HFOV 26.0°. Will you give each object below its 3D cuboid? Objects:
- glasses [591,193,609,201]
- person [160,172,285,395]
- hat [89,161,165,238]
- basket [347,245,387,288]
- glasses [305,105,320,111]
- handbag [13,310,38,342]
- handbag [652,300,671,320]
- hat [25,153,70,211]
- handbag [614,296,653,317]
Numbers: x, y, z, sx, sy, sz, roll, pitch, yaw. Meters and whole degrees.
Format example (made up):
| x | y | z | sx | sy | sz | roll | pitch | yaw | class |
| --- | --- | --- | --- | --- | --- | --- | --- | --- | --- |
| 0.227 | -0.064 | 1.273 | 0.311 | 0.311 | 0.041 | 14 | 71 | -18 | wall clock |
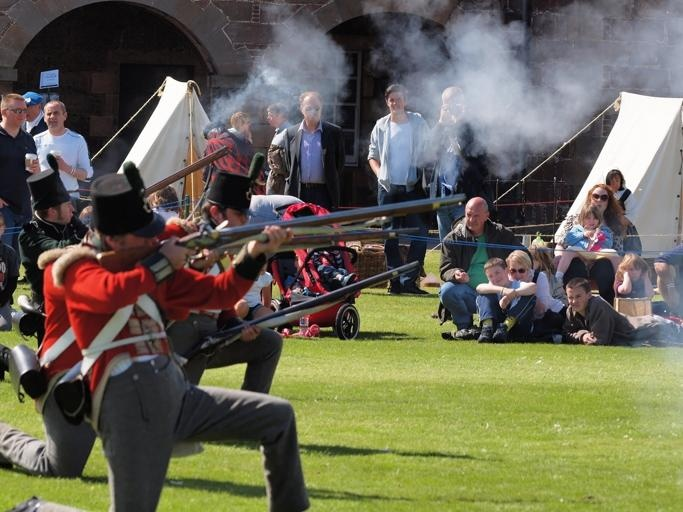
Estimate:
| x | y | z | sx | sy | sz | roll | pitch | yaw | class |
| --- | --- | --- | --- | --- | --- | --- | --- | --- | --- |
| 2.895 | -0.670 | 16.534 | 0.170 | 0.078 | 0.089 | 5 | 2 | 6 | glasses |
| -0.874 | 0.248 | 11.899 | 0.819 | 1.842 | 1.008 | 20 | 23 | 39 | person |
| -1.487 | -0.407 | 10.412 | 0.532 | 0.445 | 0.240 | 4 | 1 | -8 | hat |
| 0.319 | 0.084 | 18.053 | 0.481 | 0.183 | 0.469 | 0 | 3 | -14 | basket |
| -0.314 | -1.681 | 16.760 | 0.151 | 0.068 | 0.039 | 4 | 2 | -16 | glasses |
| -2.622 | 0.578 | 12.388 | 0.198 | 0.206 | 0.155 | 1 | 19 | -29 | handbag |
| 3.368 | 0.547 | 15.554 | 0.164 | 0.163 | 0.170 | -2 | -3 | 21 | handbag |
| -2.392 | -0.660 | 12.262 | 0.275 | 0.496 | 0.261 | -13 | 16 | -40 | hat |
| 3.025 | 0.525 | 15.369 | 0.344 | 0.197 | 0.251 | 0 | -2 | 18 | handbag |
